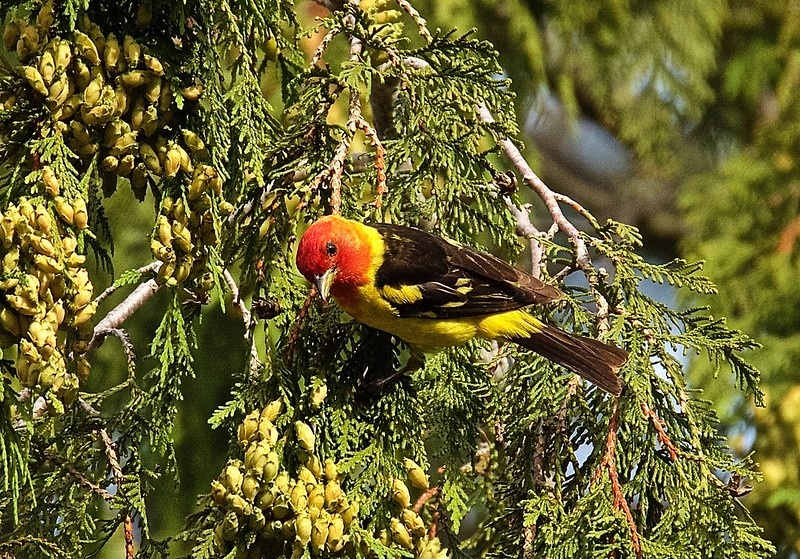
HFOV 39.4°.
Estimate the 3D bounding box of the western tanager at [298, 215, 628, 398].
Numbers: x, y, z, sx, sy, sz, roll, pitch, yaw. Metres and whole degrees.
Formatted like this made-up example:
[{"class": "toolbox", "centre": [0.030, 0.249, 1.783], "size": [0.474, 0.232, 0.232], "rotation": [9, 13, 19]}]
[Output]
[{"class": "western tanager", "centre": [0.332, 0.122, 6.310], "size": [1.810, 0.631, 0.908], "rotation": [4, -68, -9]}]
